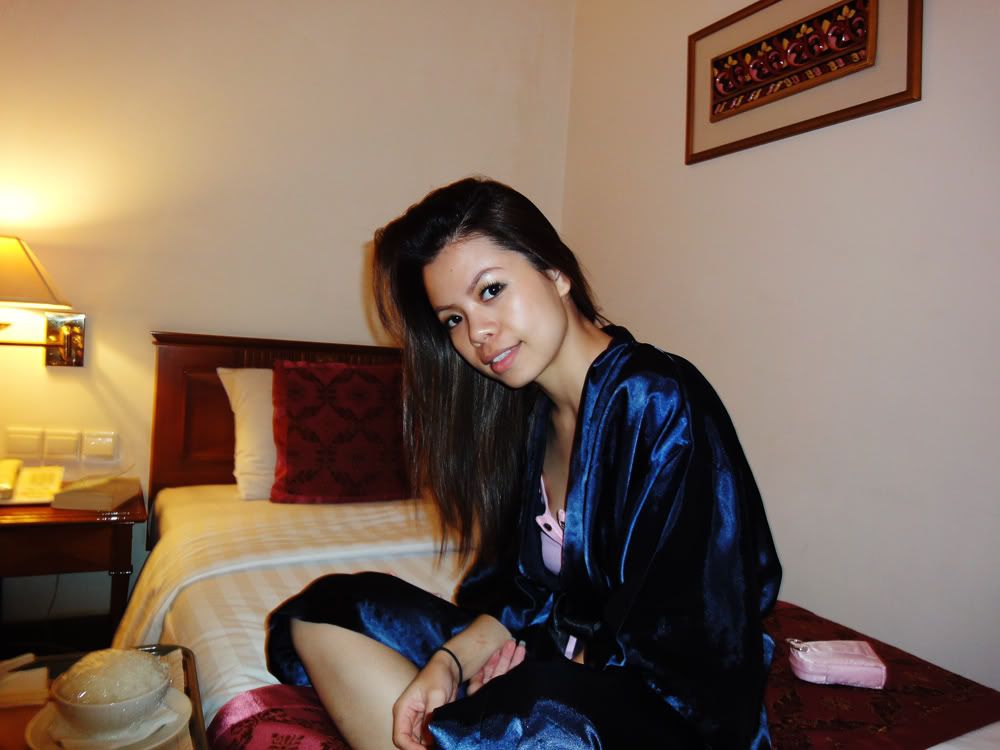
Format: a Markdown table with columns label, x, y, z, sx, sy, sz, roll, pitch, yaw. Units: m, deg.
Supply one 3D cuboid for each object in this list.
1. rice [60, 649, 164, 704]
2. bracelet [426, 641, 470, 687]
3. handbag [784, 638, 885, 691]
| label | x | y | z | sx | sy | sz | roll | pitch | yaw |
| --- | --- | --- | --- | --- | --- | --- | --- | --- | --- |
| rice | -0.740 | 0.570 | 1.385 | 0.096 | 0.057 | 0.100 | 3 | 2 | 35 |
| bracelet | -0.098 | 0.587 | 1.467 | 0.058 | 0.083 | 0.045 | 1 | 4 | 23 |
| handbag | 0.760 | 0.650 | 1.664 | 0.135 | 0.051 | 0.113 | -1 | 9 | -5 |
